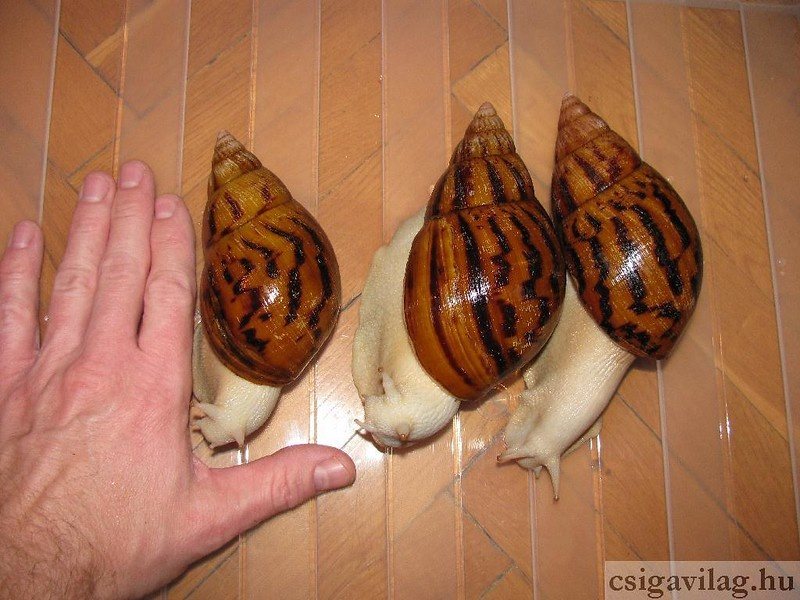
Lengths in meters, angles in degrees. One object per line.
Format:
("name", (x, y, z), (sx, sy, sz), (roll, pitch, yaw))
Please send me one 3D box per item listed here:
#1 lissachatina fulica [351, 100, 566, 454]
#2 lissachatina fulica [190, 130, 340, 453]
("lissachatina fulica", (0.130, 0.021, 1.359), (0.347, 0.210, 0.654), (13, 89, 18))
("lissachatina fulica", (-0.293, -0.016, 1.418), (0.288, 0.190, 0.570), (17, 85, -26))
